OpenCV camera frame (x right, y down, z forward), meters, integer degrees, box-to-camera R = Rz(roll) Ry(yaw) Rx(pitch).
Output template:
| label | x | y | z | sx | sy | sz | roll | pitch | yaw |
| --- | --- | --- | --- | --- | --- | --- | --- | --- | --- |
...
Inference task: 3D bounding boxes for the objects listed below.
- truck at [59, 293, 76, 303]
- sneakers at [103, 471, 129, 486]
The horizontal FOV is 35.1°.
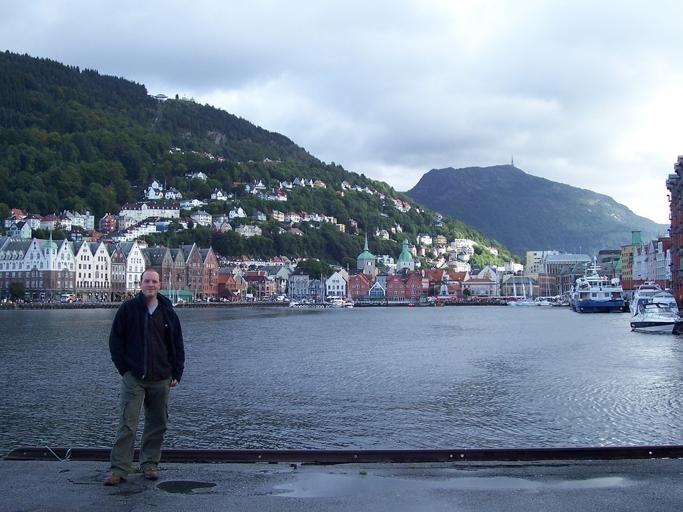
| label | x | y | z | sx | sy | sz | roll | pitch | yaw |
| --- | --- | --- | --- | --- | --- | --- | --- | --- | --- |
| truck | -46.934 | 7.140 | 187.144 | 1.915 | 1.424 | 5.066 | 0 | -2 | -4 |
| sneakers | -6.959 | 6.940 | 33.417 | 0.628 | 0.269 | 0.300 | -6 | -5 | 39 |
